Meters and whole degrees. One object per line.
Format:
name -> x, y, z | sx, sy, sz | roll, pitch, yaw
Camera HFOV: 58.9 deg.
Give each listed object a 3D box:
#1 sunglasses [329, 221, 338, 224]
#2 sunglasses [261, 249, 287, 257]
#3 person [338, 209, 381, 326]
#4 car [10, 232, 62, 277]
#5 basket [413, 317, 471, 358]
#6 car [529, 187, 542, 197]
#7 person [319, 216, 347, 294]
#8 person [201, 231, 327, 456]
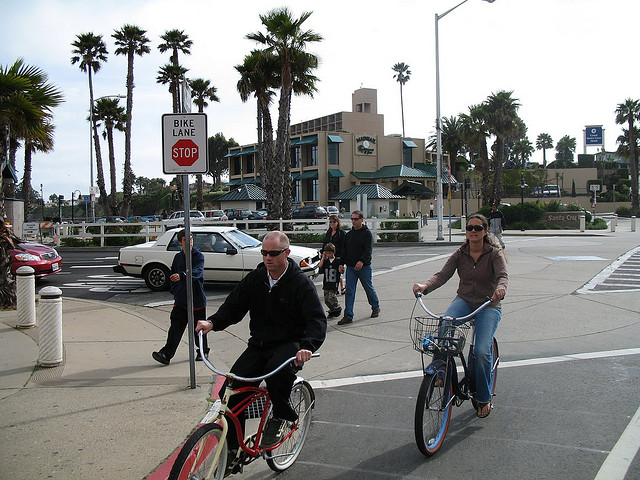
sunglasses -> 0.282, -0.367, 11.920 | 0.100, 0.055, 0.101 | -3, 3, -25
sunglasses -> -0.416, 0.120, 5.173 | 0.220, 0.071, 0.082 | -2, 3, -2
person -> 0.774, 0.514, 11.173 | 0.791, 2.184, 0.998 | -1, 3, 6
car -> -8.480, 0.411, 16.375 | 2.065, 1.007, 1.193 | -1, 0, 23
basket -> 1.335, 0.980, 5.996 | 0.483, 0.393, 0.753 | -3, -21, 33
car -> 31.744, -7.077, 83.246 | 0.583, 1.871, 1.796 | 16, -15, -18
person -> 0.363, 0.369, 12.093 | 0.525, 1.731, 0.512 | 1, 11, 40
person -> -0.427, 0.928, 5.227 | 1.013, 1.987, 1.029 | 4, -2, 20
